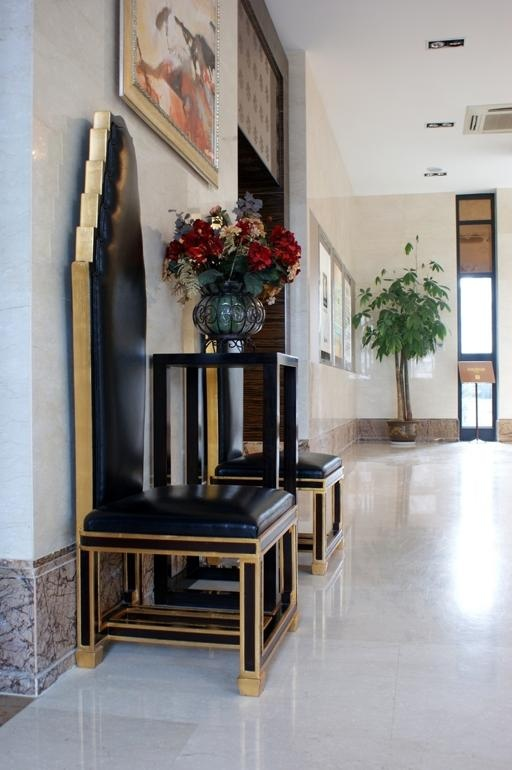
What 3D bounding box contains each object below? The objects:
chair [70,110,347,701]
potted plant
[{"bbox_3d":[-0.113,-0.010,1.996,0.526,1.368,1.097,0,-1,13],"label":"chair"},{"bbox_3d":[1.838,-0.649,8.845,1.230,2.728,1.253,0,-1,15],"label":"potted plant"}]
